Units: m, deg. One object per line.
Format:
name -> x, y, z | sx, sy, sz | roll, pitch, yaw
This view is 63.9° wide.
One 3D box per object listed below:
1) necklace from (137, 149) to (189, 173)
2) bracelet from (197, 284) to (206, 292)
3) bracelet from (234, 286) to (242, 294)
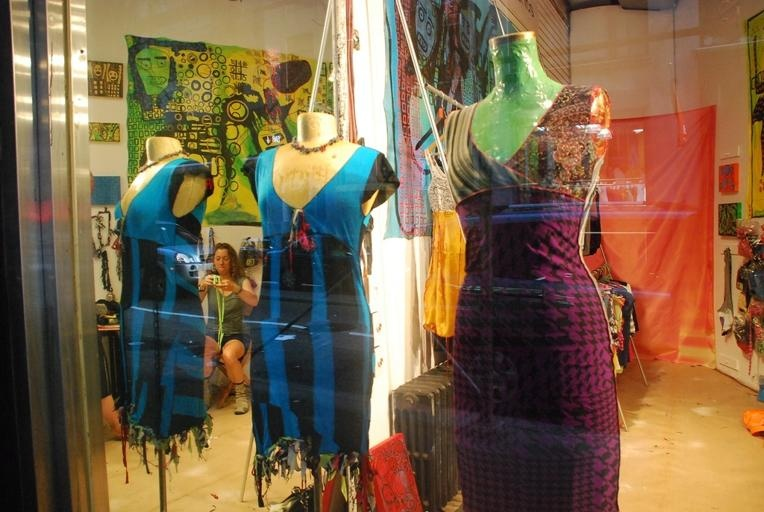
necklace -> -0.714, -0.318, 1.973 | 0.105, 0.029, 0.083 | -29, 20, -30
bracelet -> -0.583, 0.105, 2.001 | 0.021, 0.023, 0.005 | -2, 0, 2
bracelet -> -0.468, 0.109, 1.996 | 0.022, 0.024, 0.006 | -1, 3, 0
